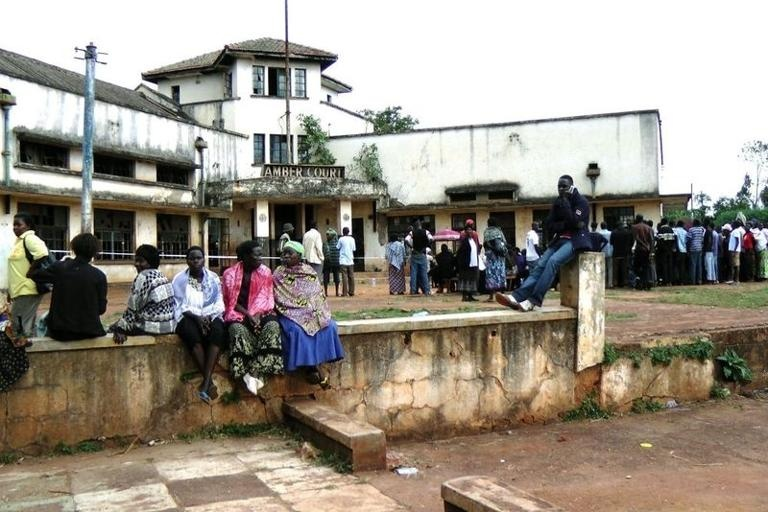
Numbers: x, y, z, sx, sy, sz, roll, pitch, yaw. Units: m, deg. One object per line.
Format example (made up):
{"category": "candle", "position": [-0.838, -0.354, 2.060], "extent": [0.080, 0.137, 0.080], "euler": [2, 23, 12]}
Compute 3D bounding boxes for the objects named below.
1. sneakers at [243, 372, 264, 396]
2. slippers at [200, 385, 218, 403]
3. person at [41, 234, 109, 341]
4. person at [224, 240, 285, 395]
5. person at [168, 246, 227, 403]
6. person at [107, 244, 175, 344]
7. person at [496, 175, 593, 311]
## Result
{"category": "sneakers", "position": [-1.637, 1.623, 8.689], "extent": [0.215, 0.285, 0.107], "euler": [-35, 14, -35]}
{"category": "slippers", "position": [-2.175, 1.733, 8.561], "extent": [0.124, 0.129, 0.290], "euler": [9, 5, 24]}
{"category": "person", "position": [-3.764, 0.540, 8.424], "extent": [0.682, 0.941, 0.519], "euler": [-1, 13, -21]}
{"category": "person", "position": [-1.686, 0.750, 8.906], "extent": [0.758, 1.787, 0.949], "euler": [0, 13, -16]}
{"category": "person", "position": [-2.349, 0.881, 8.795], "extent": [0.647, 1.848, 1.000], "euler": [-1, 13, -18]}
{"category": "person", "position": [-3.048, 0.440, 8.741], "extent": [0.774, 1.143, 0.724], "euler": [-1, 13, -19]}
{"category": "person", "position": [2.521, -0.204, 10.415], "extent": [1.186, 2.000, 0.825], "euler": [4, 12, 2]}
